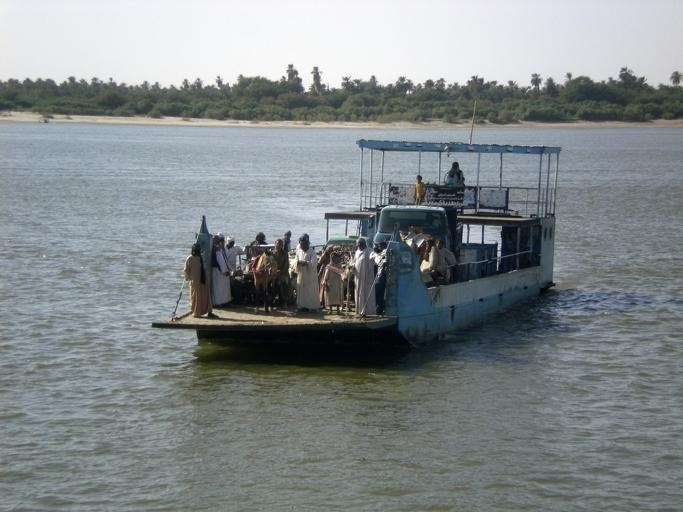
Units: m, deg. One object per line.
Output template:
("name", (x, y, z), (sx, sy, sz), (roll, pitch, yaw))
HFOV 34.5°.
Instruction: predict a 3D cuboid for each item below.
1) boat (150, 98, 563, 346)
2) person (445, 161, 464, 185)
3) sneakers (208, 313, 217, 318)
("boat", (1.895, -0.497, 33.351), (6.178, 4.092, 12.330), (4, 8, 29))
("person", (3.789, -2.640, 36.531), (0.624, 0.762, 0.815), (0, 0, 3))
("sneakers", (-3.399, 1.547, 29.100), (0.247, 0.115, 0.351), (-2, 7, -7))
